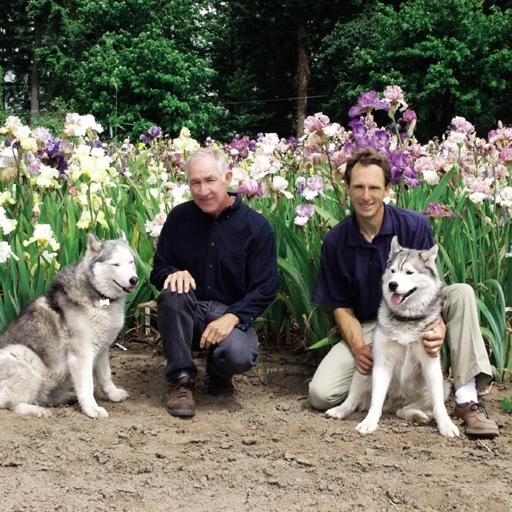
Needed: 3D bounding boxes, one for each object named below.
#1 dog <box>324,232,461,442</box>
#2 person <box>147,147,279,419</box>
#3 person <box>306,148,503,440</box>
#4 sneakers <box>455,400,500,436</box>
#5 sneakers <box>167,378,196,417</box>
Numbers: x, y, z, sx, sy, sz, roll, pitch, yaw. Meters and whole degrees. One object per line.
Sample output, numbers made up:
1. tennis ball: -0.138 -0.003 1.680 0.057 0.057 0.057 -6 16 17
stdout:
1. dog: 0.948 0.482 3.408 0.598 1.192 0.436 3 7 11
2. person: -0.287 0.154 3.836 0.876 1.756 0.683 0 7 -12
3. person: 0.951 0.243 3.547 1.202 1.666 1.036 0 17 33
4. sneakers: 1.365 0.986 3.430 0.178 0.178 0.419 5 -3 -9
5. sneakers: -0.500 0.926 3.663 0.181 0.231 0.242 1 7 -8
